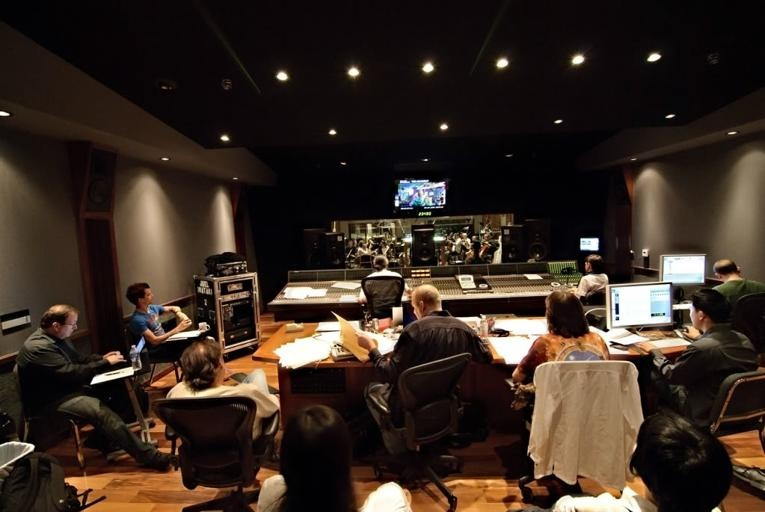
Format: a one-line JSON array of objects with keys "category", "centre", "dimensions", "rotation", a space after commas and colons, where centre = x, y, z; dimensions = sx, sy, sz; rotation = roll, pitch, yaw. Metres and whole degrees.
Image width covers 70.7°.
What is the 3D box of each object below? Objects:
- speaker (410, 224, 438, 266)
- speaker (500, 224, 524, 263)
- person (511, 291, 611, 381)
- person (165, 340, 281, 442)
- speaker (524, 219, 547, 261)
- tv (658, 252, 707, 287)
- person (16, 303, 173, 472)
[{"category": "speaker", "centre": [0.626, -0.167, 8.239], "dimensions": [0.391, 0.610, 0.379], "rotation": [0, 2, 4]}, {"category": "speaker", "centre": [1.984, -0.191, 8.293], "dimensions": [0.326, 0.564, 0.316], "rotation": [0, 2, 6]}, {"category": "person", "centre": [1.455, 0.637, 4.769], "dimensions": [0.783, 0.972, 0.680], "rotation": [-2, 2, -2]}, {"category": "person", "centre": [-1.328, 1.053, 4.578], "dimensions": [0.784, 1.153, 0.865], "rotation": [2, 12, 1]}, {"category": "speaker", "centre": [2.449, -0.263, 8.584], "dimensions": [0.355, 0.649, 0.295], "rotation": [0, 2, 18]}, {"category": "tv", "centre": [3.879, 0.178, 6.952], "dimensions": [0.448, 0.329, 0.063], "rotation": [0, 4, 5]}, {"category": "person", "centre": [-2.775, 1.238, 5.093], "dimensions": [1.168, 1.523, 0.312], "rotation": [-1, 2, -4]}]
